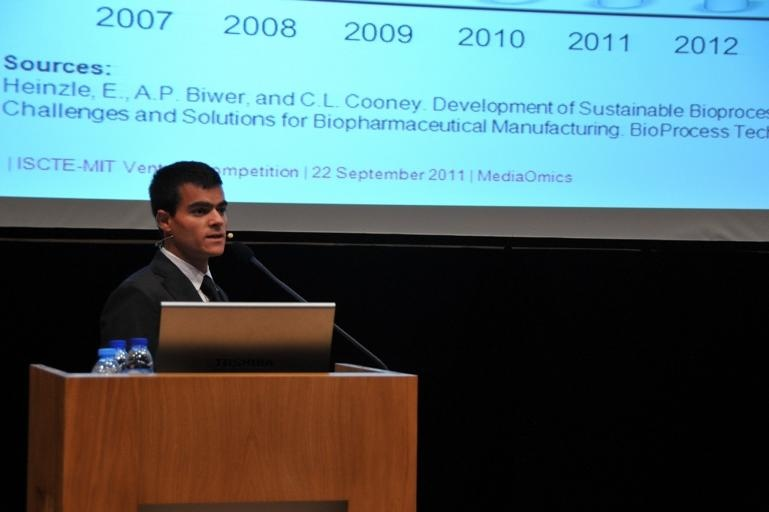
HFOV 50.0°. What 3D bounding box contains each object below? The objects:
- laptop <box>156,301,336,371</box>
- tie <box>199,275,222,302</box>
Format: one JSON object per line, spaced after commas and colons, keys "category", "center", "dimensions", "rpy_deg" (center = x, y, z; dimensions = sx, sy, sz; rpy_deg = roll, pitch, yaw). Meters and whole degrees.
{"category": "laptop", "center": [-0.452, 0.273, 2.730], "dimensions": [0.333, 0.235, 0.325], "rpy_deg": [2, -14, -5]}
{"category": "tie", "center": [-0.711, 0.144, 3.414], "dimensions": [0.037, 0.125, 0.076], "rpy_deg": [-22, -15, -39]}
